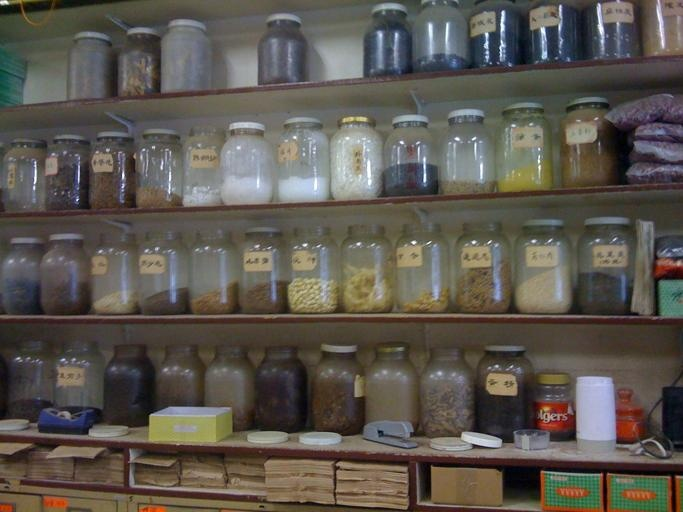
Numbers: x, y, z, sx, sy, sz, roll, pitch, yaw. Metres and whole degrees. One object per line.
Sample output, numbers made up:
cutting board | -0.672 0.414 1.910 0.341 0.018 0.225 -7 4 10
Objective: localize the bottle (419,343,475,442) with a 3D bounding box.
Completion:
bottle | 0.481 0.597 3.299 0.210 0.414 0.211 3 0 0

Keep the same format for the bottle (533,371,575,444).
bottle | 0.953 0.670 3.250 0.178 0.296 0.092 -3 -7 11

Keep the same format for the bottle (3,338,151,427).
bottle | -1.356 0.612 3.828 0.623 0.427 0.459 -2 0 14

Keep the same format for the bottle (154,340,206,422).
bottle | -0.782 0.595 3.505 0.183 0.354 0.167 0 0 0

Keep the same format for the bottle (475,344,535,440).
bottle | 0.728 0.610 3.244 0.261 0.417 0.094 -3 -7 8

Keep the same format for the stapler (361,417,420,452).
stapler | 0.210 0.779 3.194 0.297 0.099 0.085 -2 -4 39

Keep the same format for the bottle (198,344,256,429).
bottle | -0.526 0.609 3.465 0.227 0.392 0.219 -1 3 0

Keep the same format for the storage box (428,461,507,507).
storage box | 0.527 0.962 3.059 0.297 0.162 0.056 -3 -7 13

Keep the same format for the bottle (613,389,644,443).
bottle | 1.287 0.705 3.232 0.120 0.231 0.249 -4 -6 20
